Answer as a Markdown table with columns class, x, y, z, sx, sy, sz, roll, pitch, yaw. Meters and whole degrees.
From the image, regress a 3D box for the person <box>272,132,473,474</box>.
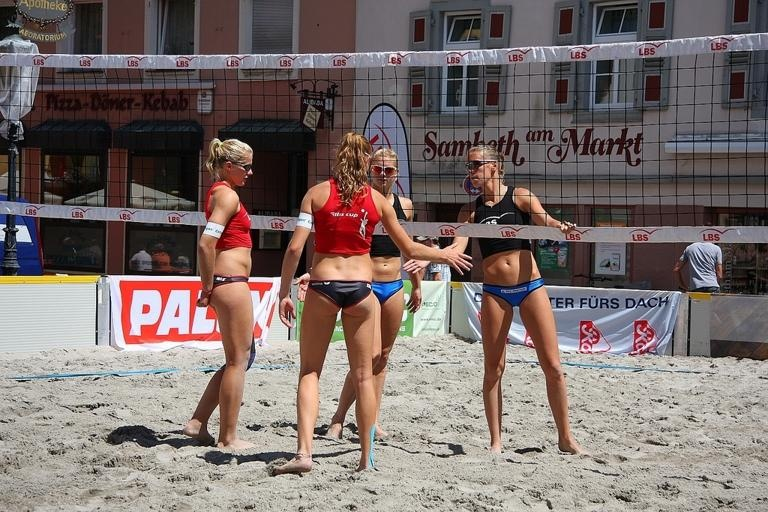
| class | x | y | z | sx | sy | sz | roll | pitch | yaw |
| --- | --- | --- | --- | --- | --- | --- | --- | --- | --- |
| person | -0.346 | 0.468 | 9.182 | 1.377 | 3.252 | 0.892 | 2 | 12 | 2 |

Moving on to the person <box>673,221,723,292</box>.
| class | x | y | z | sx | sy | sz | roll | pitch | yaw |
| --- | --- | --- | --- | --- | --- | --- | --- | --- | --- |
| person | 4.914 | 0.212 | 14.565 | 0.713 | 0.811 | 0.392 | -4 | -24 | 20 |

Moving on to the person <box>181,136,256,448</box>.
| class | x | y | z | sx | sy | sz | roll | pitch | yaw |
| --- | --- | --- | --- | --- | --- | --- | --- | --- | --- |
| person | -1.653 | 0.390 | 9.600 | 0.642 | 3.075 | 0.790 | 0 | 13 | -9 |
